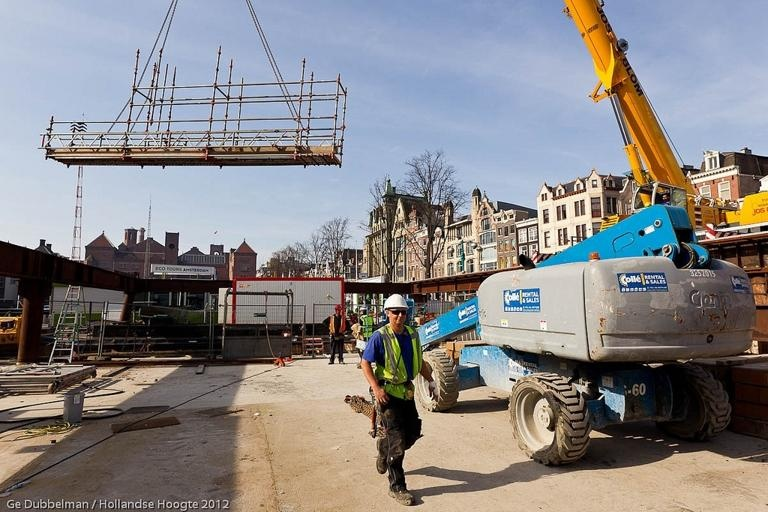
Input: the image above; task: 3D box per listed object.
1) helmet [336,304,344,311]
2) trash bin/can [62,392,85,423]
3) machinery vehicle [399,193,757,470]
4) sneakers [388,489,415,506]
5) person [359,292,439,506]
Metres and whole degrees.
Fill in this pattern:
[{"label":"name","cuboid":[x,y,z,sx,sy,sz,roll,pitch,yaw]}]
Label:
[{"label":"helmet","cuboid":[-1.744,2.103,20.636,0.269,0.188,0.349,-2,-10,8]},{"label":"trash bin/can","cuboid":[-6.930,3.459,11.386,0.358,0.716,0.257,0,0,-38]},{"label":"machinery vehicle","cuboid":[3.837,1.722,12.327,4.212,4.447,7.908,4,-10,-25]},{"label":"sneakers","cuboid":[0.352,4.009,8.261,0.174,0.180,0.400,12,-19,-39]},{"label":"person","cuboid":[0.217,2.381,8.545,0.893,3.443,0.959,0,0,25]}]
